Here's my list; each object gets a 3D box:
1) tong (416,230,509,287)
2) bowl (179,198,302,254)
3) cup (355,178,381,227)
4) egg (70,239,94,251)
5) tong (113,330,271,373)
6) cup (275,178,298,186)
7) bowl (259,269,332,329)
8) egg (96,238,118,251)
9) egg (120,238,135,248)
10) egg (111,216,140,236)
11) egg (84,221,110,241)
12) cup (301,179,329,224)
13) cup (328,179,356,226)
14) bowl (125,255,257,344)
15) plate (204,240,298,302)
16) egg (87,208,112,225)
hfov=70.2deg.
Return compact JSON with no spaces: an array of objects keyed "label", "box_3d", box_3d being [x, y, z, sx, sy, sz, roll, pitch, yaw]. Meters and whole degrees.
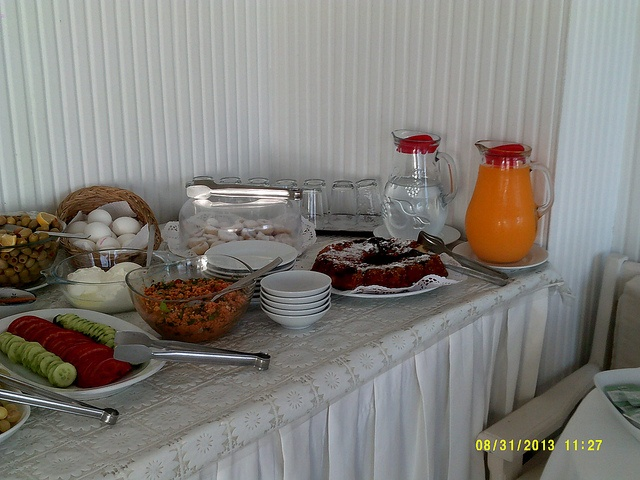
[{"label":"tong","box_3d":[0.302,0.031,1.116,0.304,0.041,0.076,19,-9,35]},{"label":"bowl","box_3d":[-0.190,-0.051,1.080,0.212,0.067,0.175,4,8,29]},{"label":"cup","box_3d":[0.148,-0.120,1.372,0.076,0.126,0.160,-1,19,6]},{"label":"egg","box_3d":[-0.559,0.011,1.078,0.041,0.012,0.032,28,44,3]},{"label":"tong","box_3d":[-0.211,0.181,0.729,0.234,0.033,0.044,6,30,-5]},{"label":"cup","box_3d":[-0.101,-0.178,1.396,0.077,0.027,0.087,0,4,-1]},{"label":"bowl","box_3d":[-0.046,0.099,0.844,0.139,0.059,0.119,0,6,3]},{"label":"egg","box_3d":[-0.504,0.008,1.085,0.056,0.031,0.036,-3,3,10]},{"label":"egg","box_3d":[-0.469,0.008,1.103,0.029,0.023,0.030,23,3,0]},{"label":"egg","box_3d":[-0.486,-0.031,1.161,0.068,0.041,0.048,12,-23,-29]},{"label":"egg","box_3d":[-0.543,-0.021,1.106,0.040,0.034,0.031,41,16,-27]},{"label":"cup","box_3d":[-0.013,-0.118,1.371,0.072,0.122,0.143,-3,19,2]},{"label":"cup","box_3d":[0.070,-0.107,1.341,0.085,0.127,0.108,-3,20,2]},{"label":"bowl","box_3d":[-0.233,0.113,0.813,0.187,0.086,0.190,17,19,-6]},{"label":"plate","box_3d":[-0.148,0.049,0.951,0.169,0.052,0.143,1,11,1]},{"label":"egg","box_3d":[-0.553,-0.059,1.148,0.055,0.047,0.047,4,-5,-6]}]
